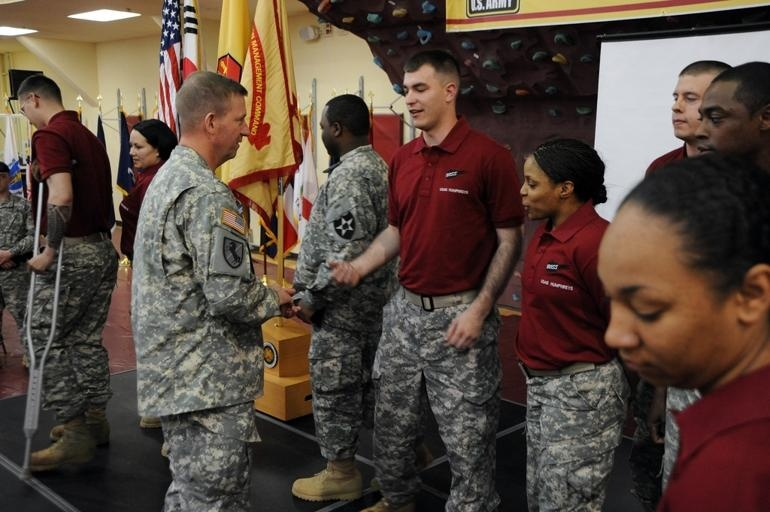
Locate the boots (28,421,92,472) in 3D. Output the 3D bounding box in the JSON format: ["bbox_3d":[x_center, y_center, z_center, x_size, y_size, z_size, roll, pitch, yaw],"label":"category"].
[{"bbox_3d":[-1.975,1.121,3.929,0.161,0.285,0.420,-10,-8,41],"label":"boots"}]

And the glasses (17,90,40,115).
[{"bbox_3d":[-2.287,-1.007,4.182,0.125,0.164,0.133,1,-35,-20],"label":"glasses"}]

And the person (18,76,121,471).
[{"bbox_3d":[-1.969,0.048,4.064,0.533,2.381,0.616,-3,5,-23],"label":"person"}]

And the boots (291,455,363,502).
[{"bbox_3d":[-0.293,1.234,3.712,0.433,0.275,0.175,4,2,2],"label":"boots"}]
